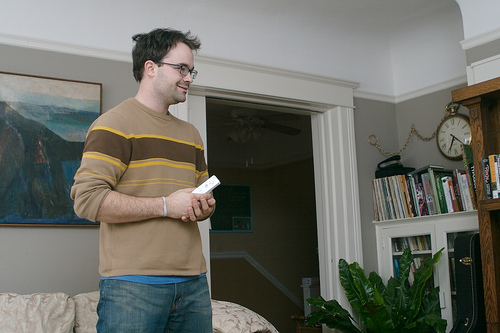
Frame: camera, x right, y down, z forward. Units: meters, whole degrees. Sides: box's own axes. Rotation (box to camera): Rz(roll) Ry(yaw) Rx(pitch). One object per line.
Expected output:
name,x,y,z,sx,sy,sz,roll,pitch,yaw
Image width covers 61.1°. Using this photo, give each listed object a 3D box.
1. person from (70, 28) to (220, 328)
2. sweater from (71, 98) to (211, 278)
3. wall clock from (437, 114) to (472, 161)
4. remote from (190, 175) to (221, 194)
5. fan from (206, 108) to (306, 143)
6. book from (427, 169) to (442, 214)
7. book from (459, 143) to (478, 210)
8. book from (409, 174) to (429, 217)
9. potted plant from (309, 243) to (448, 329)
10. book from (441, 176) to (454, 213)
person,-0.485,0.034,2.043,0.650,1.473,0.276,0,-9,-12
sweater,-0.495,0.092,2.029,0.649,0.873,0.207,2,-9,-24
wall clock,1.915,-0.277,3.970,0.059,0.432,0.356,-2,-4,-34
remote,-0.207,0.091,1.986,0.122,0.067,0.026,-39,-31,-25
fan,-0.116,-0.578,5.680,1.276,0.421,1.488,-11,3,-28
book,1.579,0.212,3.640,0.074,0.368,0.055,-6,-10,29
book,1.735,0.068,3.364,0.072,0.543,0.396,-6,-10,26
book,1.474,0.262,3.748,0.064,0.294,0.281,-5,-4,5
potted plant,1.071,1.029,3.537,1.084,0.738,0.897,-6,-10,25
book,1.668,0.246,3.589,0.040,0.311,0.230,-13,-17,12
